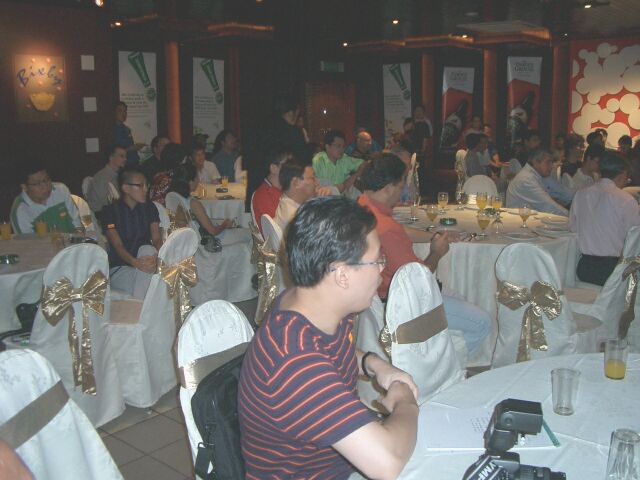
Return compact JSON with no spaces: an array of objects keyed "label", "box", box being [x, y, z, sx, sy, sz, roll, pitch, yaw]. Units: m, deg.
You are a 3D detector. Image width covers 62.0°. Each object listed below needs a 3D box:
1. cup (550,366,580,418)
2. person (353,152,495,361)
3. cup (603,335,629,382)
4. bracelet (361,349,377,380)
[{"label":"cup","box":[0.854,0.530,1.863,0.092,0.142,0.096,3,-12,1]},{"label":"person","box":[0.676,0.189,3.465,0.799,1.537,0.637,-7,10,-3]},{"label":"cup","box":[1.137,0.459,2.068,0.084,0.147,0.088,3,-3,0]},{"label":"bracelet","box":[0.178,0.460,1.957,0.041,0.087,0.060,-2,11,-5]}]
